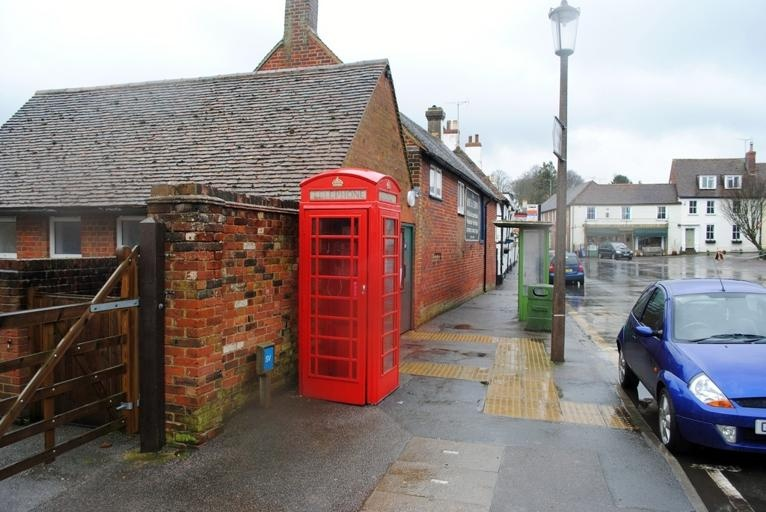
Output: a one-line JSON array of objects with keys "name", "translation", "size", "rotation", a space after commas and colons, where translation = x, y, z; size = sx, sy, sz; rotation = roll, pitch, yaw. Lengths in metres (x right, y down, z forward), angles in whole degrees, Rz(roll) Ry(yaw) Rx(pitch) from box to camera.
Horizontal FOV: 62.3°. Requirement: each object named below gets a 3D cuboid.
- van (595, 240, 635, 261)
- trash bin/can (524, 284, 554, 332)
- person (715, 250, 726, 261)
[{"name": "van", "translation": [19.280, -0.389, 52.709], "size": [1.409, 1.153, 2.559], "rotation": [0, -3, -12]}, {"name": "trash bin/can", "translation": [3.925, 1.291, 15.740], "size": [0.860, 1.096, 0.895], "rotation": [2, -2, -22]}, {"name": "person", "translation": [24.872, 0.033, 46.866], "size": [0.798, 0.710, 1.369], "rotation": [1, 3, 19]}]
